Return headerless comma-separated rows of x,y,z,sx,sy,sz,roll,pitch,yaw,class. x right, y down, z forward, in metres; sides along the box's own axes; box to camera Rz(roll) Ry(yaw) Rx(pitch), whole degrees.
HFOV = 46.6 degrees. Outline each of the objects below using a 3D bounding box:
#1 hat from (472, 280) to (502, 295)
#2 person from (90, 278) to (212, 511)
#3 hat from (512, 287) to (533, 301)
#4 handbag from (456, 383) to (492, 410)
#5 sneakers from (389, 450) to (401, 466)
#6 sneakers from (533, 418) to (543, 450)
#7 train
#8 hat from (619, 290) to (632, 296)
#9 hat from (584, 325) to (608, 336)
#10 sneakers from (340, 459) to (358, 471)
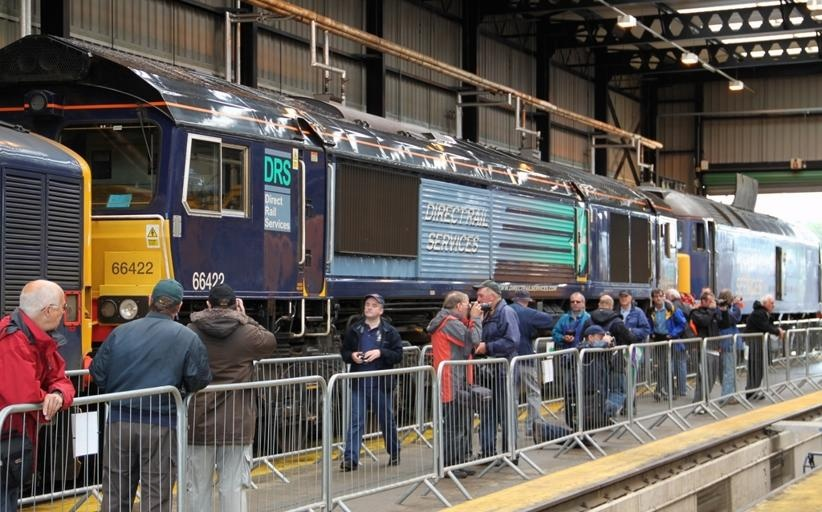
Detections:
1.227,0.487,15.370,0.406,0.204,0.245,10,-5,-2,hat
-3.117,1.662,11.335,1.288,2.740,0.451,-2,-2,-17,person
1.932,0.694,16.561,0.345,0.173,0.331,3,-2,7,hat
0.919,2.075,13.990,0.459,0.217,0.355,-6,-6,39,handbag
-0.227,2.897,13.540,0.092,0.185,0.187,-4,-35,15,sneakers
2.052,2.813,15.387,0.093,0.381,0.228,-4,-3,42,sneakers
1.115,-0.699,22.699,3.882,4.457,20.454,-4,-5,42,train
4.706,0.800,21.007,0.280,0.142,0.453,-4,-8,23,hat
3.208,1.295,16.603,0.284,0.133,0.197,-1,-3,7,hat
-0.864,2.955,13.419,0.113,0.137,0.313,-5,-16,18,sneakers
